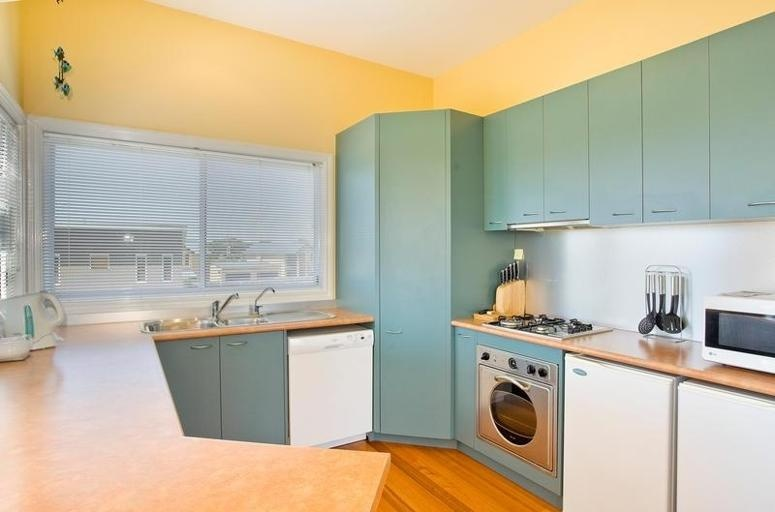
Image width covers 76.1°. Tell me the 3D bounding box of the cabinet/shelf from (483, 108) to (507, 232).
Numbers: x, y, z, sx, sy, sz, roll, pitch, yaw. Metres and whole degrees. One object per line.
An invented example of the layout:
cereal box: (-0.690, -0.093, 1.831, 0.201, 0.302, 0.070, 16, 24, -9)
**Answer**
cabinet/shelf: (0.963, -0.691, 4.188, 0.081, 1.026, 0.267, -1, 10, 14)

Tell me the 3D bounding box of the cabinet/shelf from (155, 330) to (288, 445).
cabinet/shelf: (-1.201, 0.915, 3.499, 0.985, 0.825, 0.395, 0, -4, -29)

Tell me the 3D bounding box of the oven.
oven: (1.129, 1.108, 3.739, 0.626, 0.795, 0.763, -3, 5, -36)

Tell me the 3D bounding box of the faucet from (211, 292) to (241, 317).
faucet: (-1.377, 0.411, 4.235, 0.194, 0.181, 0.256, -2, 4, 2)

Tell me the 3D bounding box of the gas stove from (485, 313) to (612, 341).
gas stove: (1.203, 0.522, 3.774, 0.752, 0.074, 0.699, -4, 4, -34)

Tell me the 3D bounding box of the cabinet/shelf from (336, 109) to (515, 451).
cabinet/shelf: (0.380, 0.132, 4.146, 1.025, 2.670, 0.432, -2, 4, 10)
